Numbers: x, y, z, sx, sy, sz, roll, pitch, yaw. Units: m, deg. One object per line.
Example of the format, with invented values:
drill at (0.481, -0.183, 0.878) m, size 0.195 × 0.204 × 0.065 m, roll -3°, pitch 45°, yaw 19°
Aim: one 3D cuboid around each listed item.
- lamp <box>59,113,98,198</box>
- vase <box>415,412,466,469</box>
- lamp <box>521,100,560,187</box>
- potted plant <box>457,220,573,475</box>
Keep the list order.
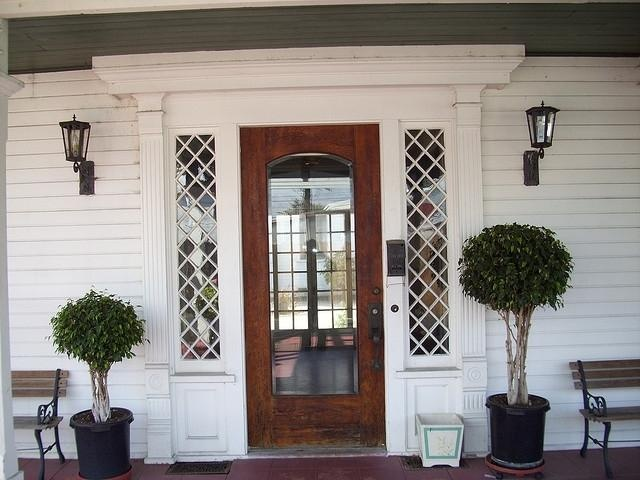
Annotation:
lamp at (-2.330, -0.797, 6.993) m, size 0.263 × 0.699 × 0.342 m, roll 0°, pitch -6°, yaw -1°
vase at (1.117, 1.863, 6.704) m, size 0.385 × 0.353 × 0.480 m, roll 0°, pitch -6°, yaw -1°
lamp at (2.095, -0.912, 6.925) m, size 0.261 × 0.762 × 0.358 m, roll 0°, pitch -6°, yaw -3°
potted plant at (1.770, 0.990, 6.598) m, size 0.969 × 2.268 × 0.796 m, roll 0°, pitch -6°, yaw 5°
